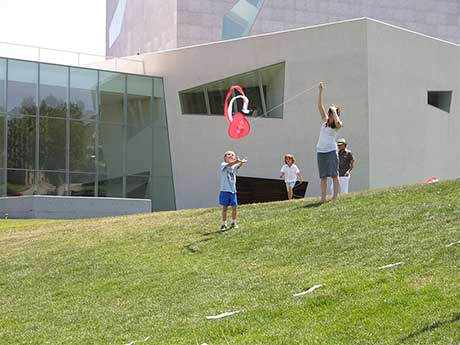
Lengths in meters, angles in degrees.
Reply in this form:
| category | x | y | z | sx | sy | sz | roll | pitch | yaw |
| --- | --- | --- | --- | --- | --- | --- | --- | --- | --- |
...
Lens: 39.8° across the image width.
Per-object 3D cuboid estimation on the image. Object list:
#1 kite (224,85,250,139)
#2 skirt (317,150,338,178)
| category | x | y | z | sx | sy | sz | roll | pitch | yaw |
| --- | --- | --- | --- | --- | --- | --- | --- | --- | --- |
| kite | 0.337 | -2.387 | 25.537 | 0.920 | 2.396 | 0.345 | -4 | 37 | 2 |
| skirt | 2.566 | -0.218 | 16.710 | 0.522 | 0.872 | 0.434 | -8 | -23 | 21 |
